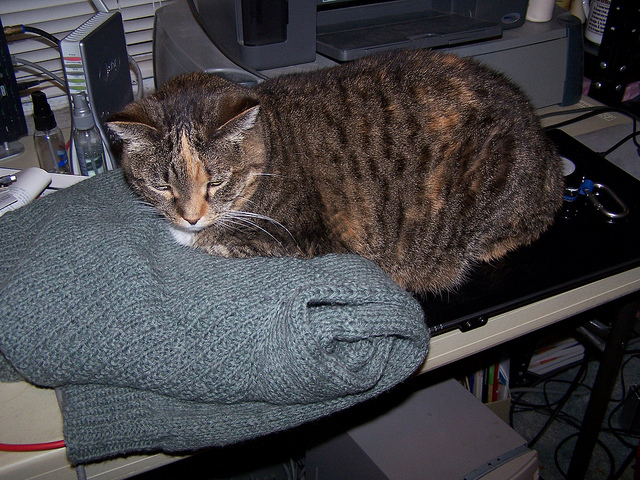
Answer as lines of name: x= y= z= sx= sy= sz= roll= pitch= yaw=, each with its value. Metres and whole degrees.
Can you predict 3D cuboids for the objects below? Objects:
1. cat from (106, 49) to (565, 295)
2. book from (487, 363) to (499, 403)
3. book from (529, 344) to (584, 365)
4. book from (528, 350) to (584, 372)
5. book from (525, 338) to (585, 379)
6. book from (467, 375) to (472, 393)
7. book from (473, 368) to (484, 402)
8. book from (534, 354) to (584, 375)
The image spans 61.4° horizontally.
cat: x=0.056 y=-0.155 z=1.260 sx=0.816 sy=0.331 sz=0.607 roll=-17 pitch=50 yaw=-10
book: x=0.585 y=0.486 z=1.817 sx=0.026 sy=0.111 sz=0.108 roll=4 pitch=5 yaw=8
book: x=0.882 y=0.426 z=2.023 sx=0.243 sy=0.034 sz=0.039 roll=-18 pitch=35 yaw=-10
book: x=0.889 y=0.455 z=2.041 sx=0.270 sy=0.038 sz=0.043 roll=-15 pitch=27 yaw=-16
book: x=0.883 y=0.447 z=2.041 sx=0.223 sy=0.068 sz=0.164 roll=-13 pitch=28 yaw=-7
book: x=0.516 y=0.492 z=1.849 sx=0.011 sy=0.046 sz=0.043 roll=-4 pitch=5 yaw=8
book: x=0.541 y=0.493 z=1.836 sx=0.036 sy=0.136 sz=0.026 roll=-5 pitch=35 yaw=-6
book: x=0.908 y=0.469 z=2.053 sx=0.275 sy=0.030 sz=0.029 roll=-16 pitch=6 yaw=-16
